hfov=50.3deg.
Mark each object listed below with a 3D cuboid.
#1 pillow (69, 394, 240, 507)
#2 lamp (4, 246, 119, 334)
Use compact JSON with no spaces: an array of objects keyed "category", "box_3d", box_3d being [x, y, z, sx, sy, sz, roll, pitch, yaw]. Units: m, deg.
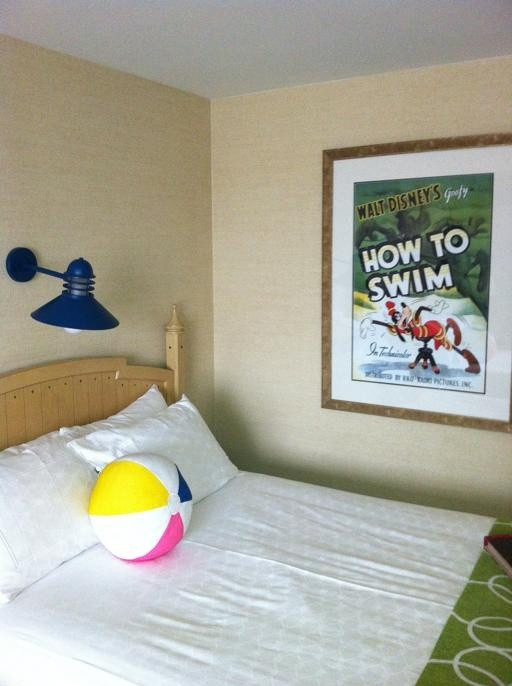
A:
[{"category":"pillow","box_3d":[-0.366,0.472,2.107,0.321,0.263,0.691,20,5,14]},{"category":"lamp","box_3d":[-0.664,-0.170,1.890,0.385,0.229,0.263,18,17,22]}]
